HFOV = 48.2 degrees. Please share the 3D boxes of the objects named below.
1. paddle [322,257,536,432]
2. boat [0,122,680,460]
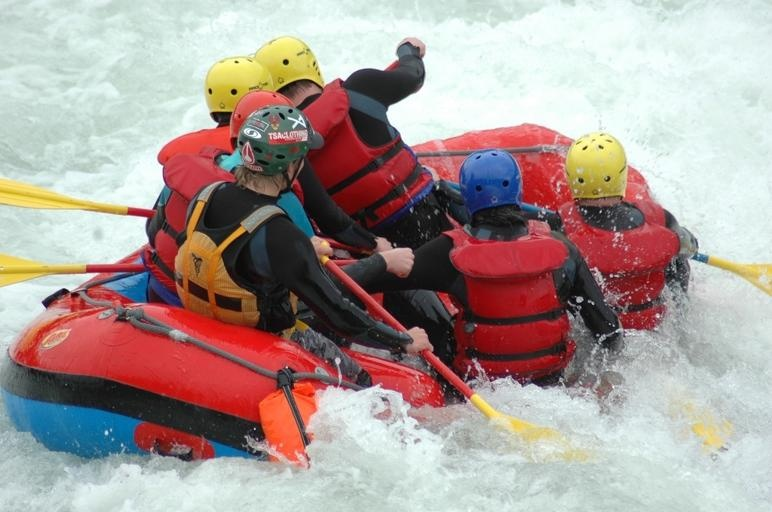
[{"bbox_3d":[0.355,0.673,6.456,1.793,0.298,0.177,37,47,11],"label":"paddle"},{"bbox_3d":[-0.581,0.773,6.616,4.167,1.157,2.854,-13,37,-18],"label":"boat"}]
